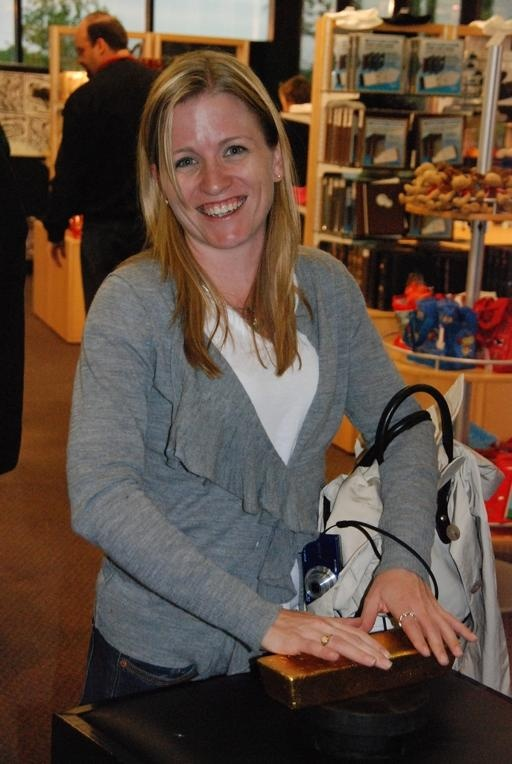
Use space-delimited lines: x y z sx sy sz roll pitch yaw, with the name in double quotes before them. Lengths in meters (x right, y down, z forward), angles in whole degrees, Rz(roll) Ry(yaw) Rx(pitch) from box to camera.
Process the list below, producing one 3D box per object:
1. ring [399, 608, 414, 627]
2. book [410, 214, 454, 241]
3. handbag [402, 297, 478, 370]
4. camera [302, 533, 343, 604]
"ring" 0.170 0.269 0.729 0.017 0.020 0.008 8 13 -10
"book" 0.959 -0.841 3.520 0.173 0.126 0.171 0 17 -3
"handbag" 0.645 -0.179 2.304 0.280 0.266 0.161 10 -6 13
"camera" 0.100 0.268 0.938 0.056 0.101 0.034 -3 -11 37
